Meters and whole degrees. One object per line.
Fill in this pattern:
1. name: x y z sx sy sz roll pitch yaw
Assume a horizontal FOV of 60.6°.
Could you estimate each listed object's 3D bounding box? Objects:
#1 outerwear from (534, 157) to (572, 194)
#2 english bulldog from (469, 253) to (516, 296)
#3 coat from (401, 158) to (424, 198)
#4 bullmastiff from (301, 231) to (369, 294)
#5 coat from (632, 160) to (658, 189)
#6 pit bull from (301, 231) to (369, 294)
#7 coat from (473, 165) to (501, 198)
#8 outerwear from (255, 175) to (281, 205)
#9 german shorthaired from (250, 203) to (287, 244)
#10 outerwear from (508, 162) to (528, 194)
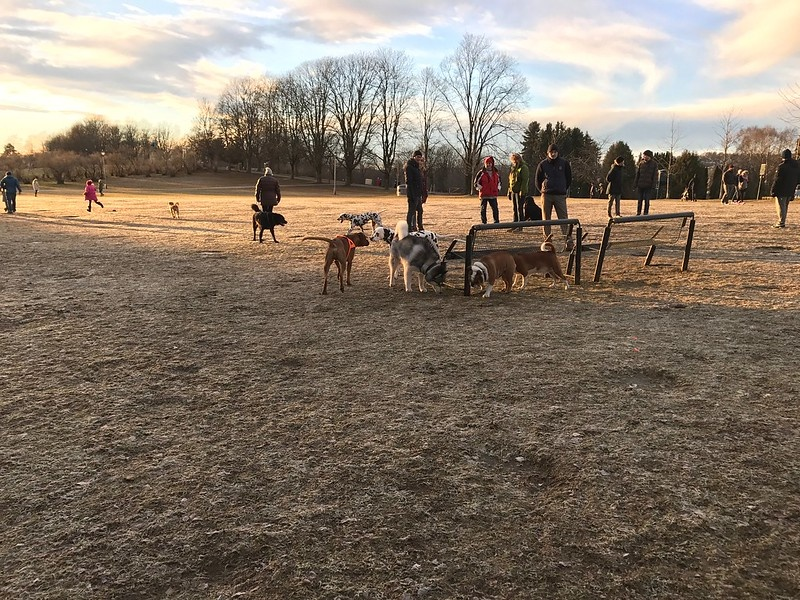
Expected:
1. outerwear: 3.131 -2.520 13.929 0.693 0.744 0.532 1 13 8
2. english bulldog: 1.376 -0.382 10.138 1.060 0.620 0.356 -15 18 -39
3. coat: 0.357 -2.880 16.257 0.431 0.924 0.474 -1 13 -1
4. bullmastiff: -0.935 -0.640 10.838 0.508 0.846 1.680 0 13 0
5. coat: 7.117 -3.658 19.891 0.649 0.860 0.570 10 17 39
6. pit bull: -0.945 -0.637 10.828 0.502 0.846 1.653 -1 13 -1
7. coat: 2.050 -2.744 16.156 0.548 0.700 0.680 1 13 5
8. outerwear: -3.454 -2.872 17.897 0.547 0.762 0.824 -2 13 -9
9. german shorthaired: -3.341 -1.943 17.320 0.740 0.841 1.861 -3 13 -11
10. outerwear: 2.889 -2.923 16.585 0.426 0.755 0.354 4 13 18
